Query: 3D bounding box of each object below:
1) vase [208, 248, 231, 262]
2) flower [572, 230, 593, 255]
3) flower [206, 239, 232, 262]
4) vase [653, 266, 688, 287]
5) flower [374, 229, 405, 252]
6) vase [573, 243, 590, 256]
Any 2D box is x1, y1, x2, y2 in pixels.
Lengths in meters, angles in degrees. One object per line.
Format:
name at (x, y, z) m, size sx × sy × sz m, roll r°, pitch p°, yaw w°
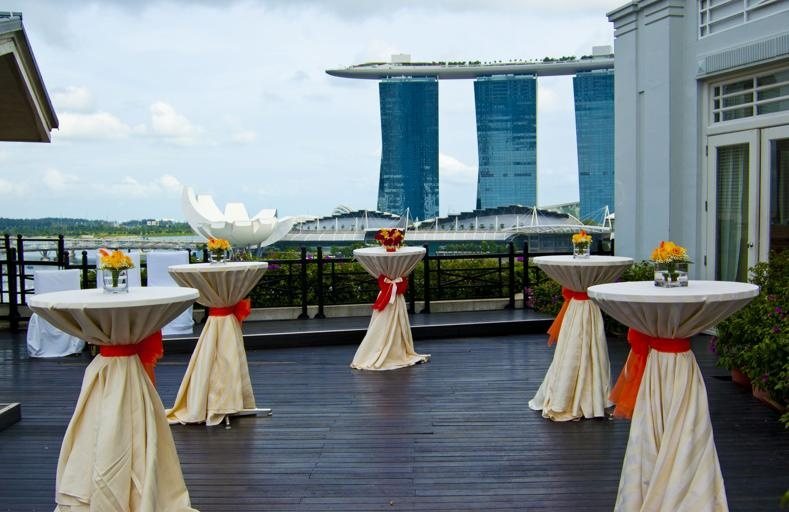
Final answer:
vase at (-6.822, 0.019, 41.431) m, size 0.533 × 0.379 × 0.561 m, roll -2°, pitch -3°, yaw 37°
flower at (7.181, -0.493, 41.515) m, size 0.742 × 0.975 × 0.551 m, roll -5°, pitch 7°, yaw 2°
flower at (-6.829, -0.248, 41.563) m, size 0.824 × 0.893 × 0.818 m, roll -1°, pitch 3°, yaw -38°
vase at (10.110, 0.784, 39.576) m, size 1.239 × 0.755 × 0.270 m, roll -6°, pitch 7°, yaw 2°
flower at (-0.164, -0.557, 42.959) m, size 0.843 × 0.710 × 0.922 m, roll -1°, pitch 0°, yaw 10°
vase at (7.157, -0.212, 41.639) m, size 0.463 × 0.402 × 0.501 m, roll 0°, pitch -4°, yaw -6°
